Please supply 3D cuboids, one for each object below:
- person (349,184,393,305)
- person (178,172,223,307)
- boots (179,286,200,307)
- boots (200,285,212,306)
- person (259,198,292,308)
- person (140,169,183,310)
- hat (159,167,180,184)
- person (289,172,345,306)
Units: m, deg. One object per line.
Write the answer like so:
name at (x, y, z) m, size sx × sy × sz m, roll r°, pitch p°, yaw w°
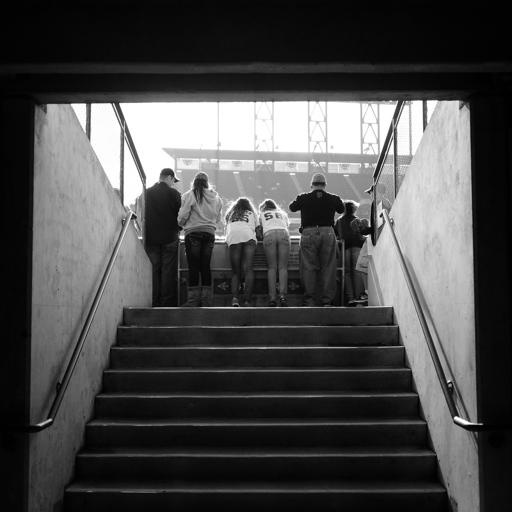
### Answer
person at (1.236, -0.137, 6.571) m, size 0.336 × 1.422 × 1.678 m, roll 0°, pitch -1°, yaw 9°
person at (-0.636, -0.214, 6.546) m, size 0.499 × 1.510 × 0.557 m, roll 1°, pitch -1°, yaw -8°
boots at (-0.796, 0.472, 6.929) m, size 0.138 × 0.278 × 1.345 m, roll 1°, pitch 0°, yaw -11°
boots at (-0.545, 0.451, 6.410) m, size 0.073 × 0.263 × 0.216 m, roll 1°, pitch -11°, yaw -6°
person at (0.217, -0.050, 6.829) m, size 0.350 × 1.291 × 1.053 m, roll 1°, pitch -1°, yaw 0°
person at (-1.106, -0.239, 6.915) m, size 0.407 × 1.662 × 0.462 m, roll 1°, pitch -1°, yaw -13°
hat at (-1.048, -0.984, 7.047) m, size 0.165 × 0.131 × 0.117 m, roll 3°, pitch 9°, yaw -44°
person at (0.694, -0.196, 6.584) m, size 0.579 × 1.491 × 0.336 m, roll 0°, pitch -1°, yaw 12°
